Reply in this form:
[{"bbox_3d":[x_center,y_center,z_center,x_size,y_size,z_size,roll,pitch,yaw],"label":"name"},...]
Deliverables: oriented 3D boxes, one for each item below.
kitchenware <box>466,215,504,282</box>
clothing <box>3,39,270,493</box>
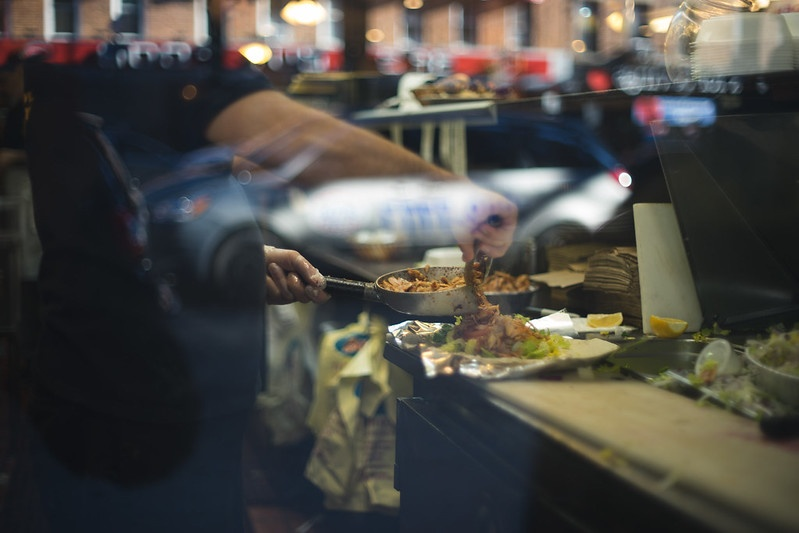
[{"bbox_3d":[0.299,-0.066,2.345,0.062,0.217,0.121,0,29,-22],"label":"kitchenware"},{"bbox_3d":[-0.832,0.033,2.123,0.664,1.324,0.127,-1,10,-1],"label":"clothing"}]
